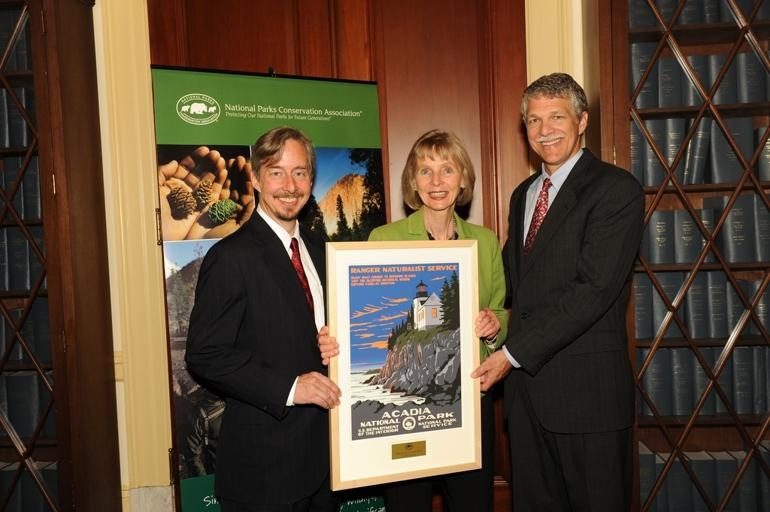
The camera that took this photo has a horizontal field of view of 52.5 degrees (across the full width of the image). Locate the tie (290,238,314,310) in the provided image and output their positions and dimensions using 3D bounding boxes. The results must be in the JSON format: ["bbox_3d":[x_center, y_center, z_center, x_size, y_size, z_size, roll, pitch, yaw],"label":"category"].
[{"bbox_3d":[-0.485,0.075,4.486,0.078,0.585,0.060,12,-35,-35],"label":"tie"}]
